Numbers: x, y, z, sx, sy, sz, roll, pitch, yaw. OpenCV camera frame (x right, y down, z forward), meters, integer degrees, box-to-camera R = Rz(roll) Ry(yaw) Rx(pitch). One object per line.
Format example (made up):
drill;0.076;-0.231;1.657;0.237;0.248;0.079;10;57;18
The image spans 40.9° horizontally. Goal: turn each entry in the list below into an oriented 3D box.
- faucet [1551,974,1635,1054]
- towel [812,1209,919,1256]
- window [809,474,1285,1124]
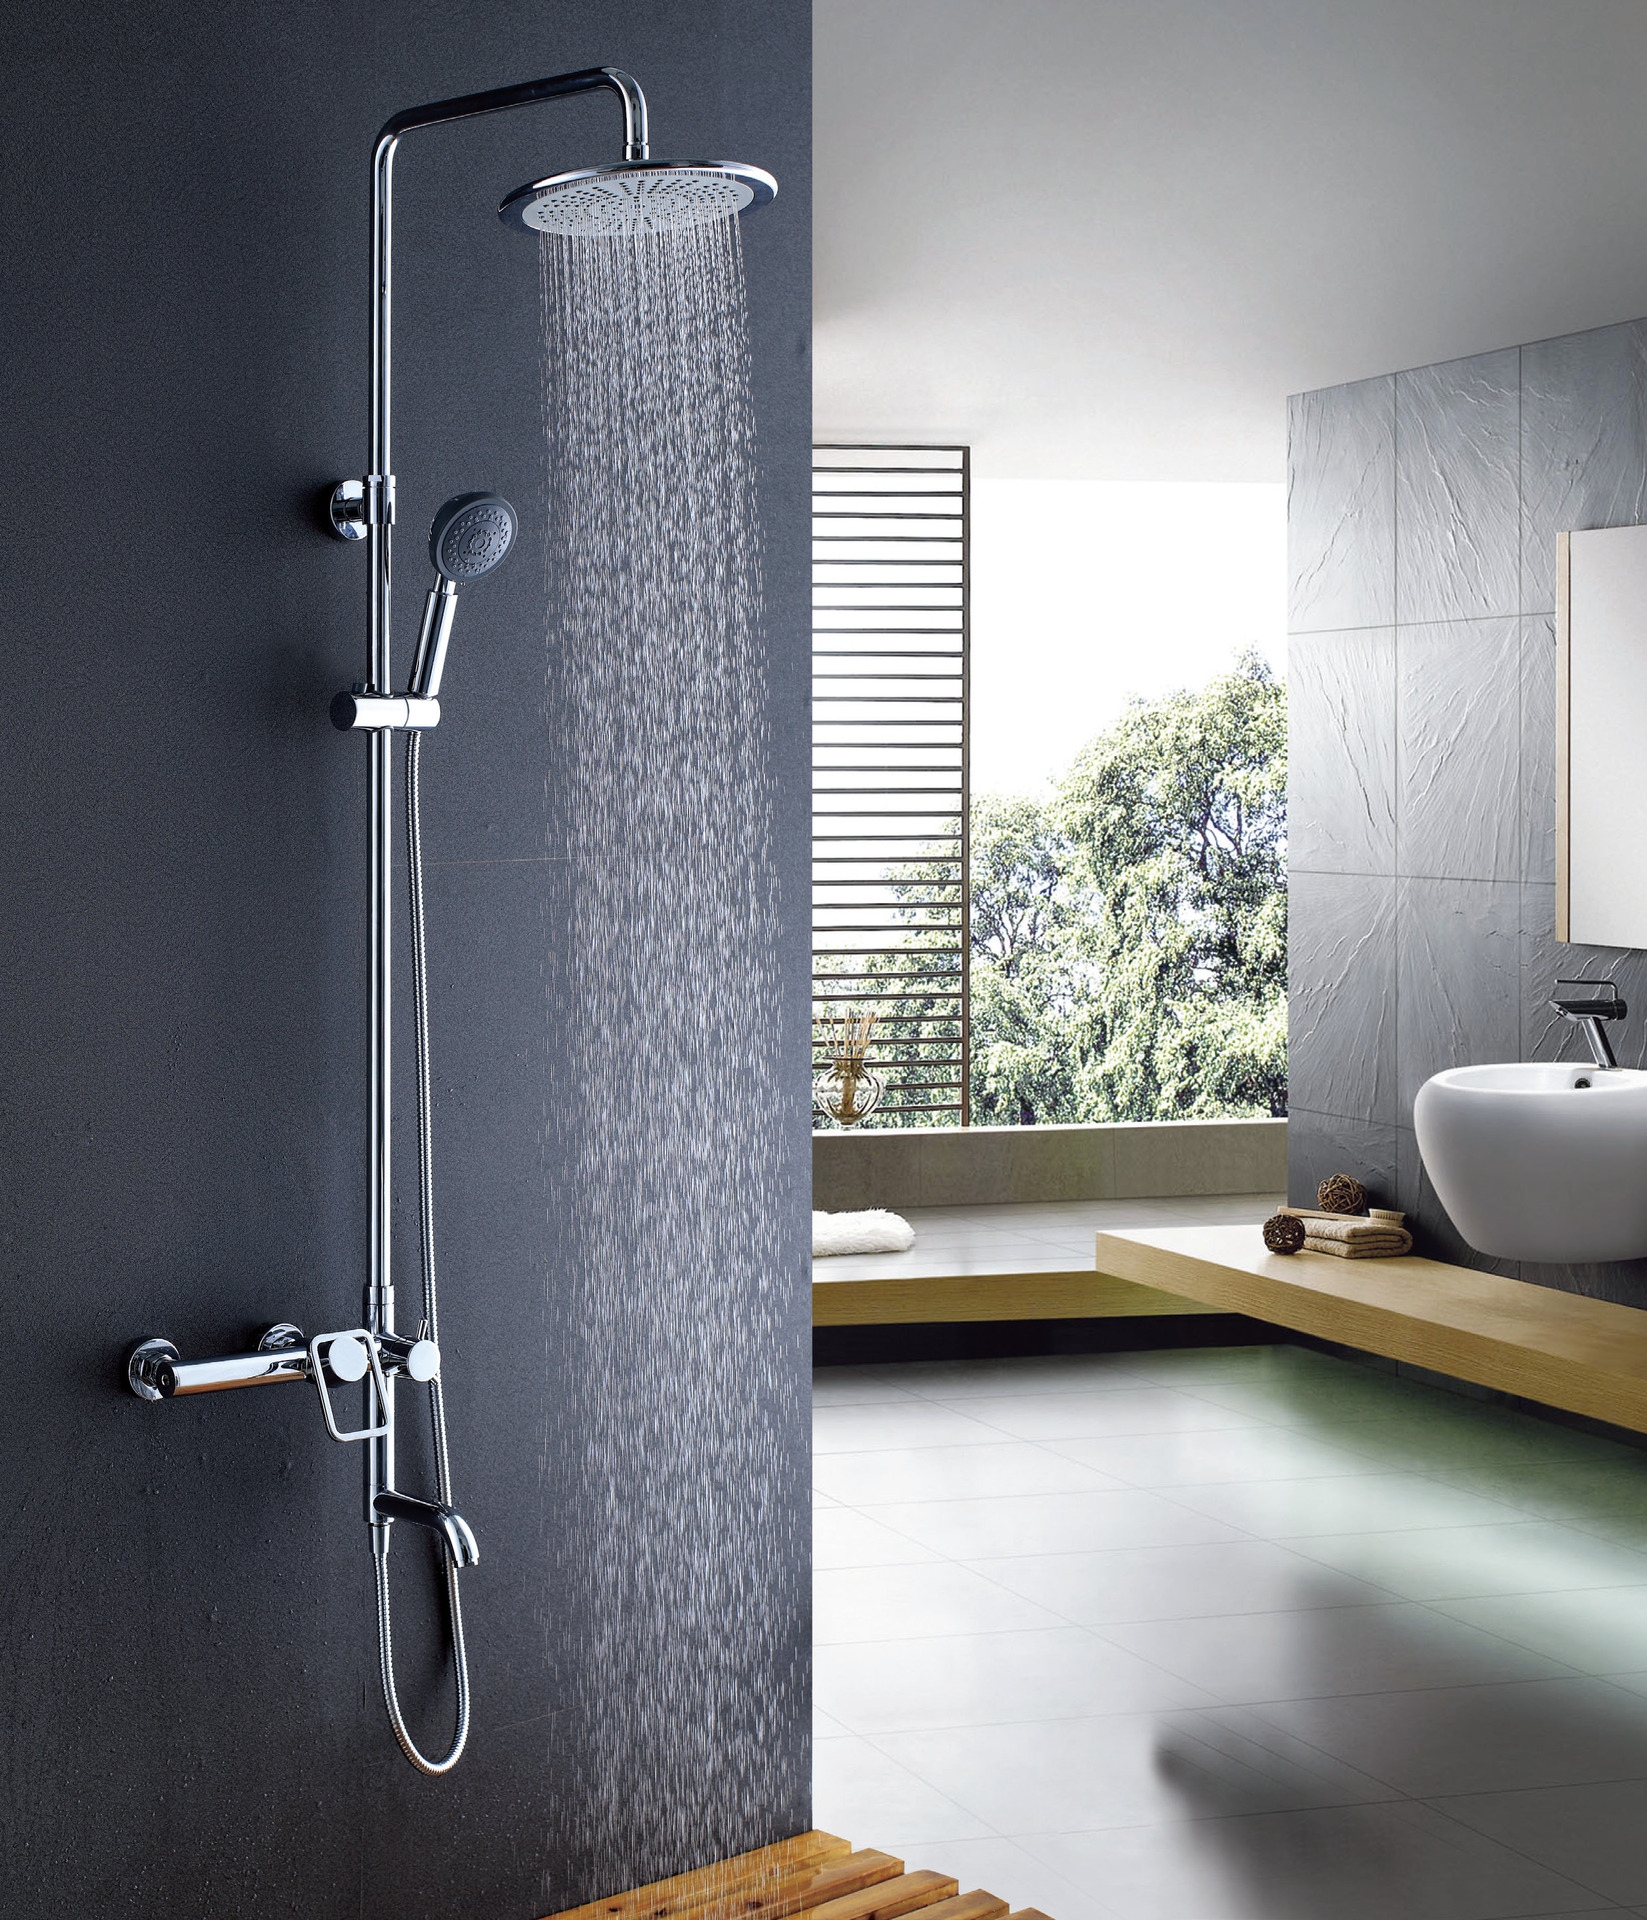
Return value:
faucet;1.629;0.127;4.718;0.150;0.181;0.265;1;0;19
towel;0.085;0.702;5.691;0.303;0.075;0.169;1;1;-27
window;1.143;-0.882;10.400;2.878;3.426;0.134;-1;4;-18
